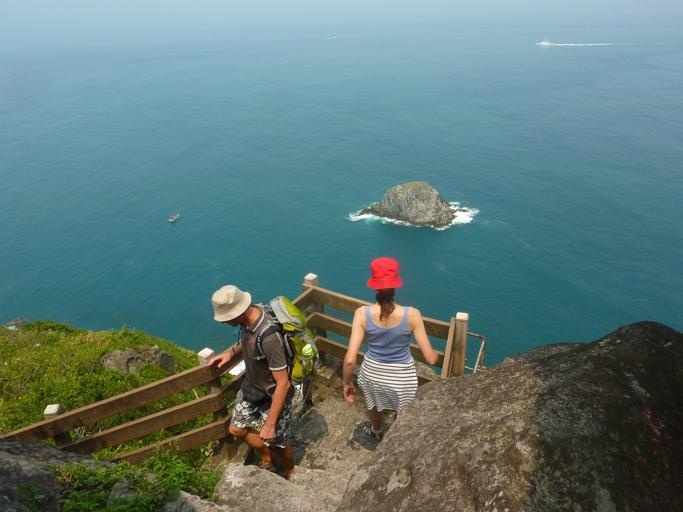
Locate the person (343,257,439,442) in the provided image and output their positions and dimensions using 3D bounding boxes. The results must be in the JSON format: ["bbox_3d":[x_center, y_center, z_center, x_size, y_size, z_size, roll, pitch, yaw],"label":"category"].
[{"bbox_3d":[0.710,1.840,8.009,1.406,3.663,1.157,-3,36,6],"label":"person"}]

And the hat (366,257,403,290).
[{"bbox_3d":[0.623,0.244,7.527,0.441,0.259,0.512,0,14,2],"label":"hat"}]

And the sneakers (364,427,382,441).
[{"bbox_3d":[0.534,3.091,8.902,0.177,0.155,0.369,-10,25,-30],"label":"sneakers"}]

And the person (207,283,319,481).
[{"bbox_3d":[-1.085,2.026,7.829,1.480,3.448,1.105,-27,40,-25],"label":"person"}]
